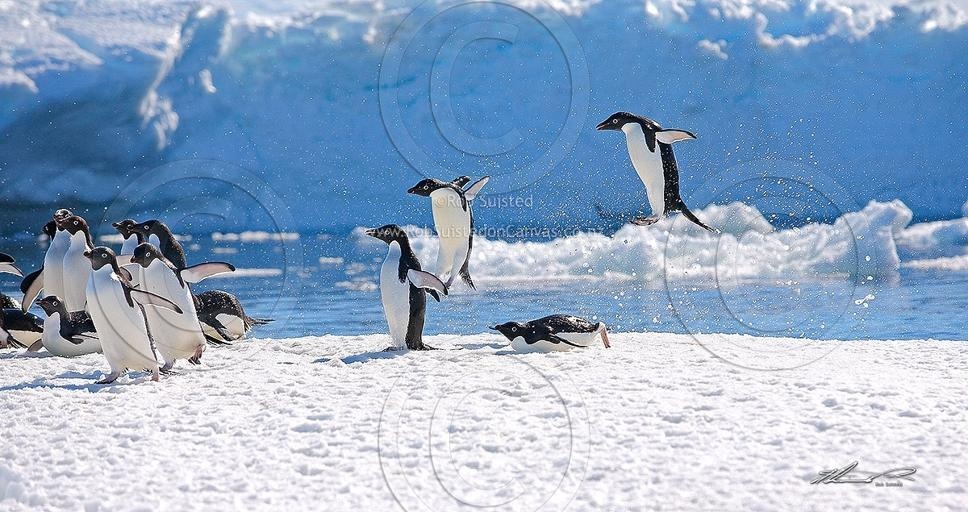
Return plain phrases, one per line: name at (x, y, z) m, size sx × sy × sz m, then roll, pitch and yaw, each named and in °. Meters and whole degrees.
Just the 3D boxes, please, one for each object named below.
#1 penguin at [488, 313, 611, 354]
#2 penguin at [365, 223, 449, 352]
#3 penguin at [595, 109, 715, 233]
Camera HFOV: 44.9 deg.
penguin at (0.867, 1.005, 14.840) m, size 1.606 × 0.459 × 1.202 m, roll -2°, pitch -1°, yaw -26°
penguin at (-1.013, 0.423, 14.556) m, size 0.846 × 1.566 × 0.414 m, roll 0°, pitch 8°, yaw -1°
penguin at (2.054, -1.038, 14.244) m, size 1.292 × 1.339 × 0.564 m, roll 1°, pitch 8°, yaw 13°
